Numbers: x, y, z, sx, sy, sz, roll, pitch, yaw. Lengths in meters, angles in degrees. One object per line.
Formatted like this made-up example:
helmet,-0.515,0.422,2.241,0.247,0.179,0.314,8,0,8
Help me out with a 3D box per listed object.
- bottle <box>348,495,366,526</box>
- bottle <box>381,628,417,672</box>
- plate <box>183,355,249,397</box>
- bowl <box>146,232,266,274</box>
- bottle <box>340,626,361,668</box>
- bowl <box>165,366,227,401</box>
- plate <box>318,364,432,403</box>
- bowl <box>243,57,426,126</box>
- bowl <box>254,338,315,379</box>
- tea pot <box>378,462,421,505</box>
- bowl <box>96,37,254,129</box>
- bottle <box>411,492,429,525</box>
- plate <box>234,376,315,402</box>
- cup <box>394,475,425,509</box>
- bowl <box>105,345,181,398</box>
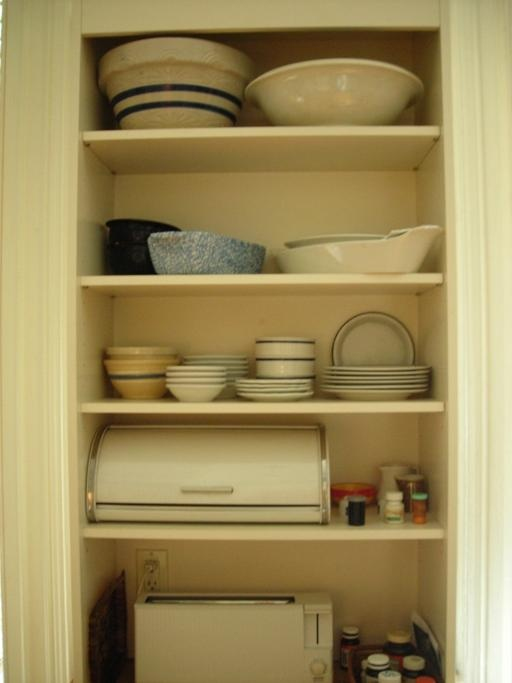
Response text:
bottle,0.220,0.378,1.606,0.042,0.065,0.035,-4,-4,4
bottle,0.324,0.715,1.691,0.065,0.063,0.063,3,-7,-30
plate,-0.085,0.090,1.780,0.116,0.061,0.110,0,-7,1
bowl,-0.110,-0.197,1.704,0.252,0.090,0.270,3,4,0
bottle,0.220,0.753,1.767,0.054,0.091,0.055,3,-14,1
bowl,-0.135,0.091,1.616,0.097,0.054,0.099,-1,-7,0
plate,0.275,0.094,1.652,0.245,0.084,0.110,-4,-4,13
bowl,0.180,-0.537,1.611,0.403,0.114,0.200,-3,-4,-1
bowl,0.062,0.040,1.702,0.110,0.062,0.104,0,-2,0
tea pot,0.334,0.347,1.746,0.112,0.104,0.073,6,-5,9
bowl,-0.186,-0.543,1.638,0.277,0.097,0.250,-2,1,18
bottle,0.368,0.376,1.647,0.033,0.064,0.102,-4,-4,9
plate,0.041,0.110,1.635,0.168,0.054,0.085,-3,-4,0
cup,0.355,0.362,1.705,0.083,0.066,0.062,2,-8,-4
bowl,-0.279,0.070,1.694,0.144,0.090,0.135,0,-5,0
